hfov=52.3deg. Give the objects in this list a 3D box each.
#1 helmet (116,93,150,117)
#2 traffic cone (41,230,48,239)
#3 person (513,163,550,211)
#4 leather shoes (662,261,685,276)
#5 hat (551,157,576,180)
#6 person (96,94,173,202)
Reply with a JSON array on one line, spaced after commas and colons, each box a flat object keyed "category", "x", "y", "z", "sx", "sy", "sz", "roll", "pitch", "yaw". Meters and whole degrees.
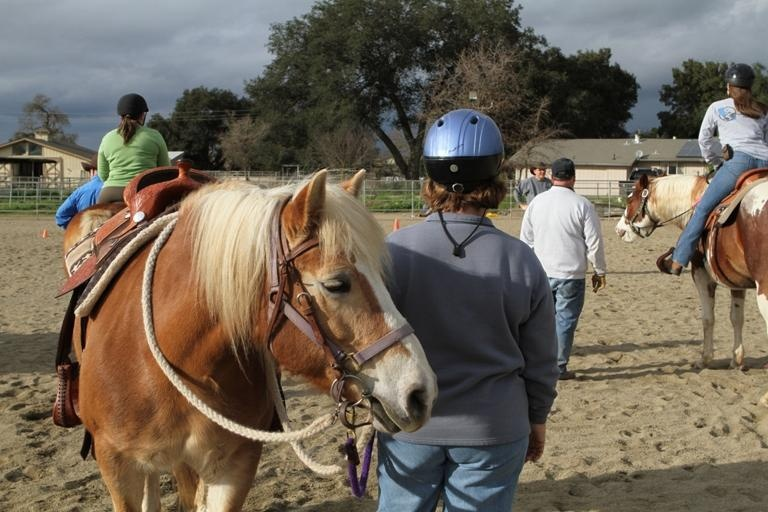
[{"category": "helmet", "x": -2.724, "y": -1.636, "z": 8.526, "sx": 0.277, "sy": 0.229, "sz": 0.180, "roll": -9, "pitch": 11, "yaw": -26}, {"category": "traffic cone", "x": -9.144, "y": -0.575, "z": 21.164, "sx": 0.206, "sy": 0.251, "sz": 0.215, "roll": -4, "pitch": 11, "yaw": -26}, {"category": "person", "x": 2.754, "y": -1.153, "z": 14.064, "sx": 0.663, "sy": 1.078, "sz": 0.510, "roll": 8, "pitch": -13, "yaw": 3}, {"category": "leather shoes", "x": 3.757, "y": 0.162, "z": 10.142, "sx": 0.124, "sy": 0.171, "sz": 0.378, "roll": 0, "pitch": -8, "yaw": 6}, {"category": "hat", "x": 2.179, "y": -1.053, "z": 9.468, "sx": 0.187, "sy": 0.167, "sz": 0.287, "roll": 2, "pitch": 22, "yaw": 12}, {"category": "person", "x": -2.772, "y": -0.732, "z": 8.763, "sx": 0.680, "sy": 2.221, "sz": 0.708, "roll": -1, "pitch": -8, "yaw": -9}]
